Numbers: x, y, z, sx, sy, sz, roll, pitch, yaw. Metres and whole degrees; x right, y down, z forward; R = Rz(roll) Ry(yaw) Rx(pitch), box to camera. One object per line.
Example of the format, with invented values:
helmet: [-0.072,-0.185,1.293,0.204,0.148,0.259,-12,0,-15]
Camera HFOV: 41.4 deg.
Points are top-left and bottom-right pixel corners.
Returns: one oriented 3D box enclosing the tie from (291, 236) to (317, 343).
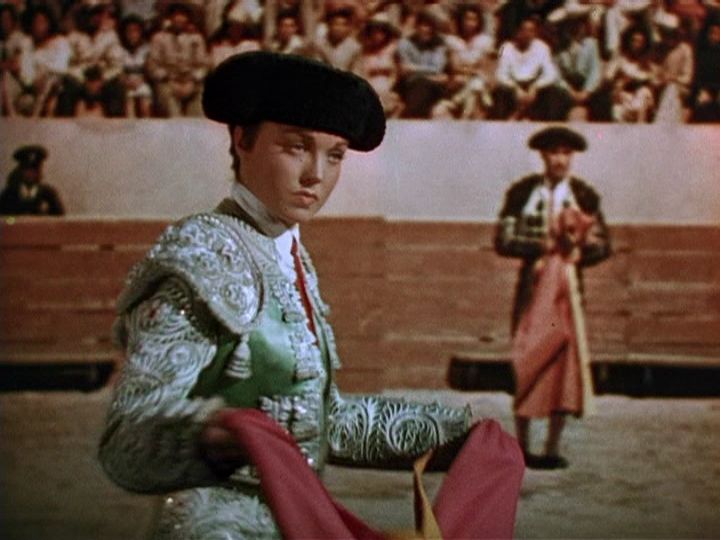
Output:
tie: [-0.160,0.046,2.690,0.048,0.343,0.016,-23,-26,23]

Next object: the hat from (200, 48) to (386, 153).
hat: [-0.189,-0.425,2.650,0.353,0.146,0.269,20,1,-9]
